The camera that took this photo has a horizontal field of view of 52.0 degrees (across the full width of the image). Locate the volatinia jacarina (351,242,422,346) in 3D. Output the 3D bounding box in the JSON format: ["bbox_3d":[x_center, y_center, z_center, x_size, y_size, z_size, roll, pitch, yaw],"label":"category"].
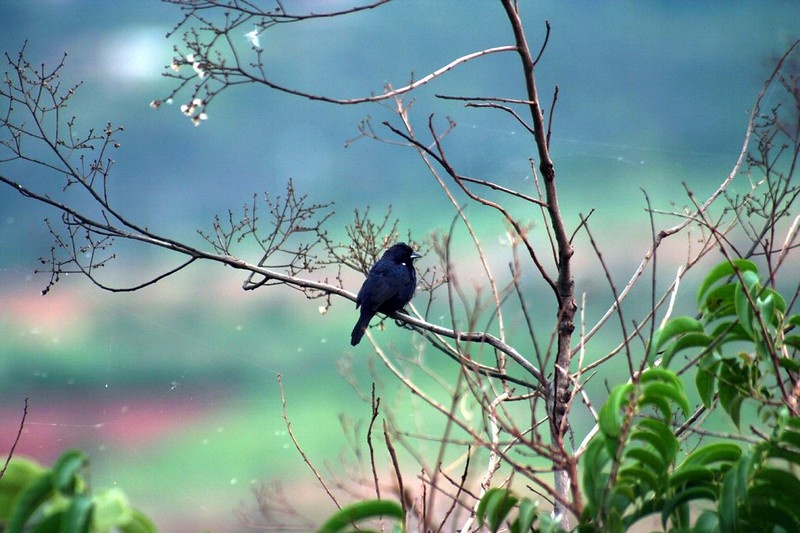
[{"bbox_3d":[-0.112,0.151,5.643,0.619,0.620,0.318,-7,0,-40],"label":"volatinia jacarina"}]
